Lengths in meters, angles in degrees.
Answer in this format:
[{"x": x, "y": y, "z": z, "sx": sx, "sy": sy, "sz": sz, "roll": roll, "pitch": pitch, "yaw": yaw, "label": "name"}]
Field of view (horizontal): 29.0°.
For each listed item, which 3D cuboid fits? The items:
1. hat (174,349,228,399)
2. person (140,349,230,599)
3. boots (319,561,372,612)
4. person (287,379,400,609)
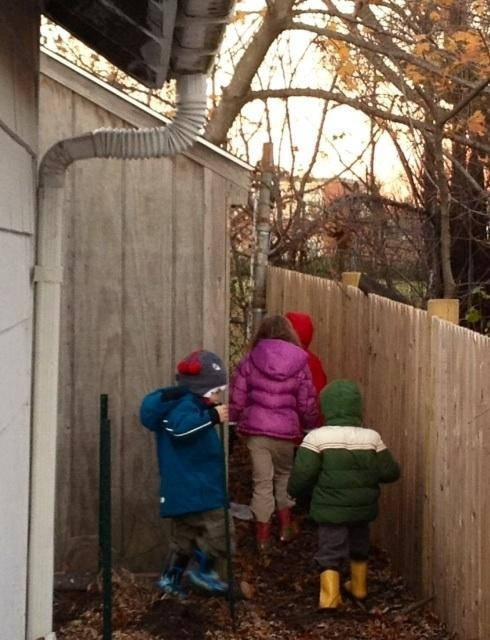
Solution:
[{"x": -0.217, "y": 0.278, "z": 4.963, "sx": 0.244, "sy": 0.228, "sz": 0.204, "roll": -2, "pitch": 7, "yaw": -23, "label": "hat"}, {"x": -0.314, "y": 0.789, "z": 4.992, "sx": 0.459, "sy": 1.251, "sz": 0.374, "roll": 0, "pitch": 3, "yaw": -2, "label": "person"}, {"x": 0.509, "y": 1.346, "z": 4.840, "sx": 0.259, "sy": 0.204, "sz": 0.208, "roll": -3, "pitch": 7, "yaw": -13, "label": "boots"}, {"x": 0.542, "y": 0.892, "z": 4.981, "sx": 0.569, "sy": 1.136, "sz": 0.404, "roll": -2, "pitch": 4, "yaw": -33, "label": "person"}]
